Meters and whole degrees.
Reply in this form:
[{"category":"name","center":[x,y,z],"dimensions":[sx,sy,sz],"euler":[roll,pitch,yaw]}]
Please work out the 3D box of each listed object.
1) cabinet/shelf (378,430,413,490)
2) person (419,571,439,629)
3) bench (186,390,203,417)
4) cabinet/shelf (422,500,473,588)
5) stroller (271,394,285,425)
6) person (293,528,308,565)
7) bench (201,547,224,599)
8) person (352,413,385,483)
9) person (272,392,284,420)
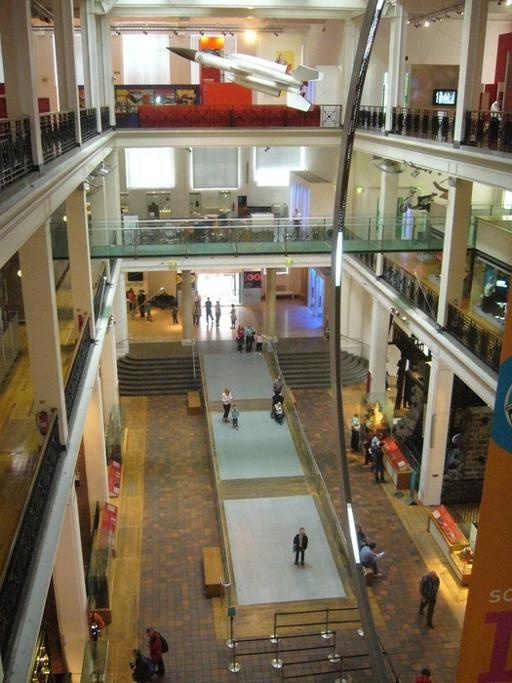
[{"category":"cabinet/shelf","center":[4.108,3.644,15.353],"dimensions":[0.345,0.737,1.579],"euler":[1,10,-2]},{"category":"person","center":[3.406,5.003,10.315],"dimensions":[0.326,1.206,0.677],"euler":[5,17,21]},{"category":"bench","center":[-2.281,1.937,18.938],"dimensions":[0.455,0.387,1.592],"euler":[-1,28,-1]},{"category":"cabinet/shelf","center":[4.518,4.562,11.942],"dimensions":[0.432,0.928,2.057],"euler":[-1,18,-1]},{"category":"stroller","center":[0.697,2.234,17.504],"dimensions":[0.347,0.598,0.987],"euler":[1,35,-3]},{"category":"person","center":[0.947,4.407,11.470],"dimensions":[0.278,1.030,0.465],"euler":[0,16,2]},{"category":"bench","center":[-0.924,4.849,11.038],"dimensions":[0.407,0.500,1.403],"euler":[0,26,-2]},{"category":"person","center":[3.468,3.306,16.016],"dimensions":[0.580,1.294,1.255],"euler":[-3,27,-4]},{"category":"person","center":[0.702,2.143,17.542],"dimensions":[0.330,0.555,0.920],"euler":[1,38,-3]}]
